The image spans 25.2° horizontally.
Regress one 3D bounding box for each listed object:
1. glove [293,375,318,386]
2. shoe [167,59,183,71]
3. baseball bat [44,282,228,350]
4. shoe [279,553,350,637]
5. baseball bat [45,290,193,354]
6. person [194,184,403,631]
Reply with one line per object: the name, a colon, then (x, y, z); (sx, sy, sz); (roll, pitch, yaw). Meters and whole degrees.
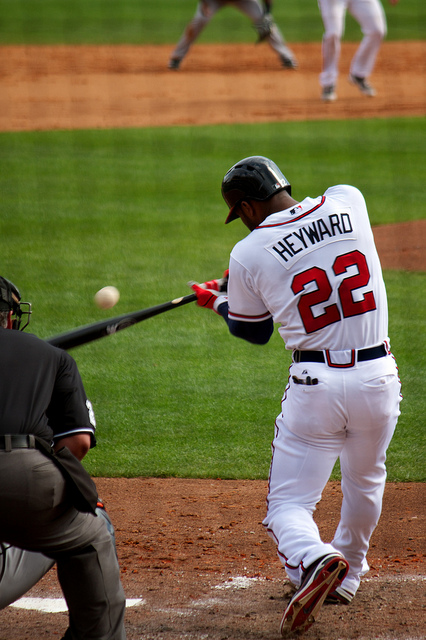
glove: (0.344, 0.223, 3.497); (0.096, 0.033, 0.028); (2, -17, 20)
shoe: (-0.499, -3.372, 12.669); (0.100, 0.185, 0.281); (0, 10, 5)
baseball bat: (-0.513, -0.001, 6.541); (1.540, 0.114, 0.114); (-20, 45, -40)
shoe: (0.362, 0.982, 3.399); (0.185, 0.322, 0.242); (4, 12, 31)
baseball bat: (-0.626, 0.036, 6.538); (1.589, 0.170, 0.192); (-13, 48, -40)
person: (0.430, 0.317, 3.578); (0.543, 1.597, 0.634); (-6, 12, -17)
